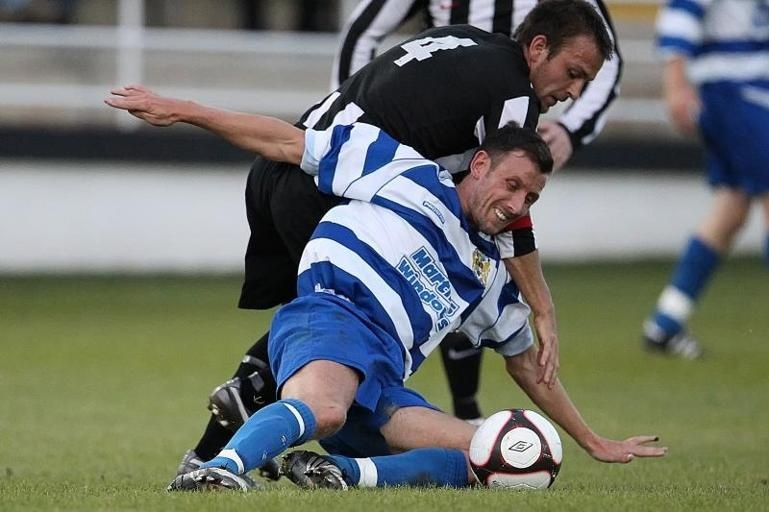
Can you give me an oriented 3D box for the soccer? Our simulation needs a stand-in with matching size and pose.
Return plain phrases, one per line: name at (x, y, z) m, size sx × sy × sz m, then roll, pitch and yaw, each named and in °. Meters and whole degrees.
soccer at (0.651, 0.994, 6.350) m, size 0.479 × 0.411 × 0.404 m, roll -18°, pitch -15°, yaw 2°
